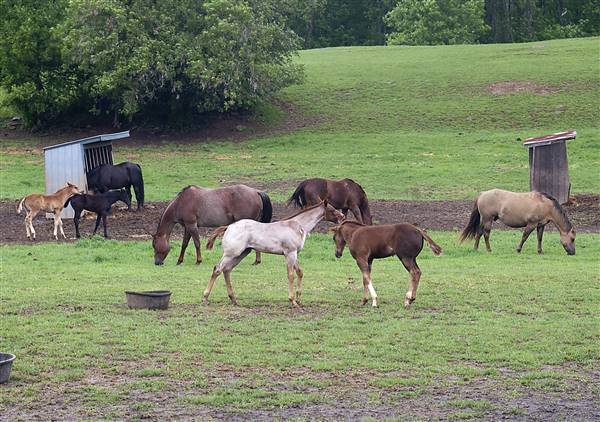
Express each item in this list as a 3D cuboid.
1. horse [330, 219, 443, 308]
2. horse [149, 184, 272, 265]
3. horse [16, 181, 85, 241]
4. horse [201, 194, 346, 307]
[{"bbox_3d":[4.136,2.733,66.620,4.715,4.279,1.431,-2,6,4],"label":"horse"},{"bbox_3d":[-4.531,1.020,70.947,6.917,4.090,1.635,-4,-6,11],"label":"horse"},{"bbox_3d":[-13.626,0.192,73.534,3.085,2.927,1.254,-3,6,-10],"label":"horse"},{"bbox_3d":[-1.401,2.227,66.853,6.039,4.992,1.456,-2,6,1],"label":"horse"}]
